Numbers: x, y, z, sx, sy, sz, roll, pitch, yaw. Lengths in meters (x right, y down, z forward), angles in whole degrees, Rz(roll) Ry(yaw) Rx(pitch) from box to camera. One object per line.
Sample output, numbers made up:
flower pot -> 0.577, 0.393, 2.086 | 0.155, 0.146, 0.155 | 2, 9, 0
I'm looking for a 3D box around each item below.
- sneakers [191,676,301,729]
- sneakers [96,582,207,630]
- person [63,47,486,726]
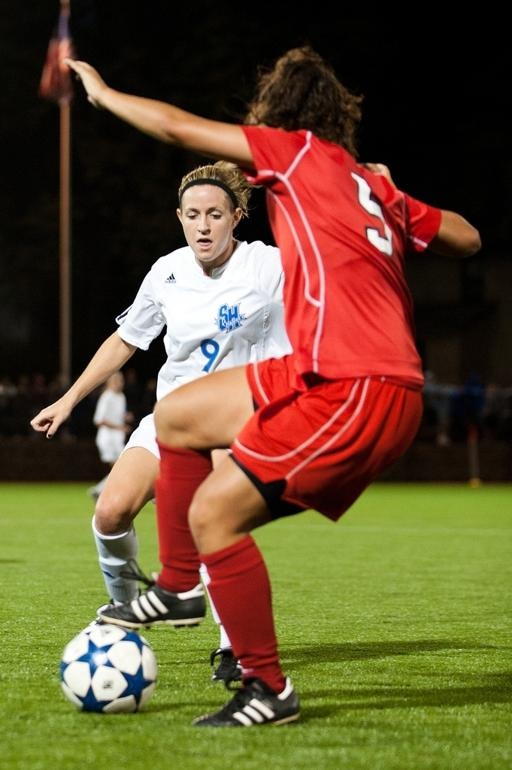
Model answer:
sneakers -> -0.001, 0.840, 2.097 | 0.352, 0.126, 0.108 | -2, -11, -2
sneakers -> -0.274, 0.635, 2.267 | 0.336, 0.120, 0.115 | 2, -11, 3
person -> 0.077, -0.009, 2.127 | 0.946, 1.806, 0.553 | -5, 11, -10
